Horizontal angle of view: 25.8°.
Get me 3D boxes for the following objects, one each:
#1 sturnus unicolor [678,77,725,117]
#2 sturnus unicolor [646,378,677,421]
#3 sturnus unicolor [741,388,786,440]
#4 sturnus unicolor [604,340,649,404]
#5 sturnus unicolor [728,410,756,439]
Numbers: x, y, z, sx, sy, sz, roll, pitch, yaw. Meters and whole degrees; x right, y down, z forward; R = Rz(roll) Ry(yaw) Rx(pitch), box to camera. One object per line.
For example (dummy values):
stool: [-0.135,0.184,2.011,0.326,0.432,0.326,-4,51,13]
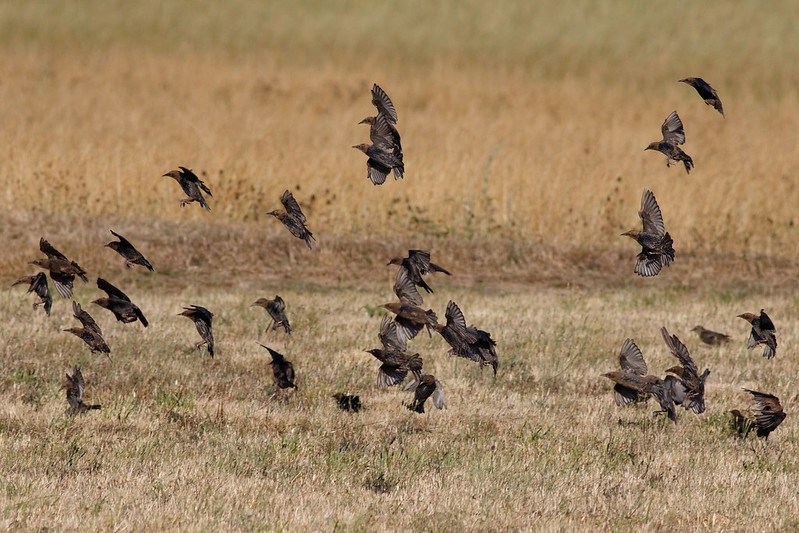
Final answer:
sturnus unicolor: [8.665,-5.317,49.846,1.253,0.497,1.378,18,-4,11]
sturnus unicolor: [7.472,3.676,48.586,0.446,1.142,1.073,-14,19,38]
sturnus unicolor: [10.411,4.215,48.690,1.043,1.117,1.491,-4,7,20]
sturnus unicolor: [6.408,2.973,48.496,0.946,1.938,0.540,2,19,7]
sturnus unicolor: [9.633,4.491,48.909,0.700,0.357,0.722,-4,33,49]
